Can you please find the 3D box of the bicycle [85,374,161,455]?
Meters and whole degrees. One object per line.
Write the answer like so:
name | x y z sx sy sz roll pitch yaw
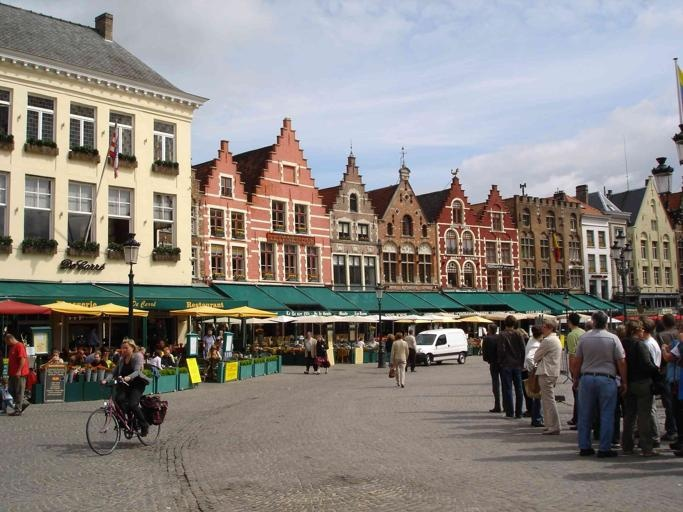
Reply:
bicycle | -4.503 3.363 17.790 0.753 1.332 2.211 -4 -9 28

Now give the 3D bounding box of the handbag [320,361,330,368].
handbag | -0.718 4.610 36.190 0.369 0.260 0.381 0 -2 21

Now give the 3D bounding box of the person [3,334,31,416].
person | -8.746 3.210 22.938 0.555 2.165 1.258 1 -9 -20

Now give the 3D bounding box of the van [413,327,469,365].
van | 4.973 4.601 42.998 2.677 1.324 1.449 10 -14 -43

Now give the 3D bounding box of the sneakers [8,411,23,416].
sneakers | -8.598 4.158 22.422 0.442 0.126 0.210 -6 -10 22

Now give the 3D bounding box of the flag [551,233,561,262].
flag | 17.110 -0.701 67.787 0.575 2.267 2.105 -5 -9 15

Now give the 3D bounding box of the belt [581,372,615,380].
belt | 4.890 2.280 16.206 0.570 0.136 0.155 -5 -9 14

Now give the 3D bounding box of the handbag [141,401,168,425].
handbag | -3.916 3.335 18.037 0.424 0.597 0.614 -11 -6 2
